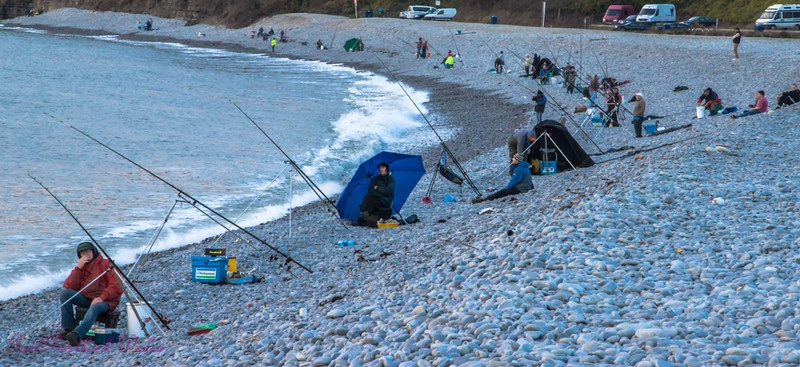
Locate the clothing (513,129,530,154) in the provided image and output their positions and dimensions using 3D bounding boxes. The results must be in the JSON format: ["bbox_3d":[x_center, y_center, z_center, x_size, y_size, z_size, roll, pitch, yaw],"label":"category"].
[{"bbox_3d":[6.331,-2.292,38.042,0.748,1.186,0.908,-18,29,-33],"label":"clothing"}]

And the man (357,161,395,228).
[{"bbox_3d":[-1.034,0.550,35.870,1.392,3.031,1.681,14,28,30],"label":"man"}]

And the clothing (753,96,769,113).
[{"bbox_3d":[19.734,-4.347,40.037,0.778,0.735,1.345,9,23,23],"label":"clothing"}]

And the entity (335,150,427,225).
[{"bbox_3d":[-1.088,0.106,36.696,4.328,3.766,1.432,-9,51,-48],"label":"entity"}]

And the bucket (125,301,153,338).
[{"bbox_3d":[-11.401,5.895,32.071,1.067,1.457,0.938,-6,24,-11],"label":"bucket"}]

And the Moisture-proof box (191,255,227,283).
[{"bbox_3d":[-8.697,4.018,34.372,2.200,1.131,1.260,0,-2,6],"label":"Moisture-proof box"}]

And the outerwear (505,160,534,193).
[{"bbox_3d":[5.773,-0.418,36.240,1.711,1.476,1.750,8,12,32],"label":"outerwear"}]

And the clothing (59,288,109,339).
[{"bbox_3d":[-13.791,5.679,31.935,1.905,2.046,0.960,1,25,5],"label":"clothing"}]

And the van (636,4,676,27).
[{"bbox_3d":[23.752,-15.816,68.682,4.044,1.563,1.988,-2,3,-28],"label":"van"}]

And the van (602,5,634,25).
[{"bbox_3d":[21.541,-16.859,72.646,1.821,1.376,3.161,5,9,42],"label":"van"}]
